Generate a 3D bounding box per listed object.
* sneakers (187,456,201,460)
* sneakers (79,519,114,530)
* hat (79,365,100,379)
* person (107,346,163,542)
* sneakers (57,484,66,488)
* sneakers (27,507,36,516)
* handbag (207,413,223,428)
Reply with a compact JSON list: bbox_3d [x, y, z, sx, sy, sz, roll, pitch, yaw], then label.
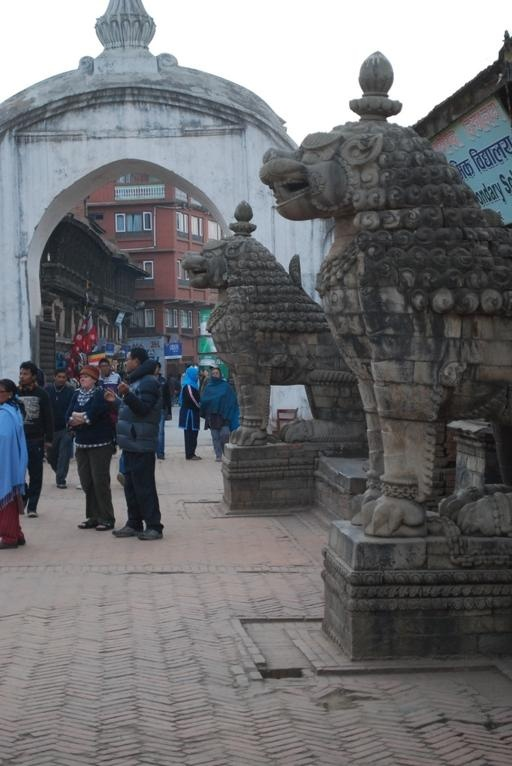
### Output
[{"bbox_3d":[-0.822,1.015,13.539,0.192,0.074,0.060,-5,4,-7],"label":"sneakers"},{"bbox_3d":[-1.255,1.126,7.861,0.213,0.071,0.104,7,-9,-2],"label":"sneakers"},{"bbox_3d":[-1.360,-0.102,8.155,0.098,0.099,0.132,-3,-21,32],"label":"hat"},{"bbox_3d":[-0.877,0.444,7.515,0.358,1.421,0.546,0,3,-8],"label":"person"},{"bbox_3d":[-2.017,1.072,10.473,0.090,0.056,0.137,0,2,-5],"label":"sneakers"},{"bbox_3d":[-1.892,1.089,8.462,0.061,0.065,0.161,1,-9,-12],"label":"sneakers"},{"bbox_3d":[-0.493,0.467,12.556,0.191,0.230,0.124,-2,20,0],"label":"handbag"}]
